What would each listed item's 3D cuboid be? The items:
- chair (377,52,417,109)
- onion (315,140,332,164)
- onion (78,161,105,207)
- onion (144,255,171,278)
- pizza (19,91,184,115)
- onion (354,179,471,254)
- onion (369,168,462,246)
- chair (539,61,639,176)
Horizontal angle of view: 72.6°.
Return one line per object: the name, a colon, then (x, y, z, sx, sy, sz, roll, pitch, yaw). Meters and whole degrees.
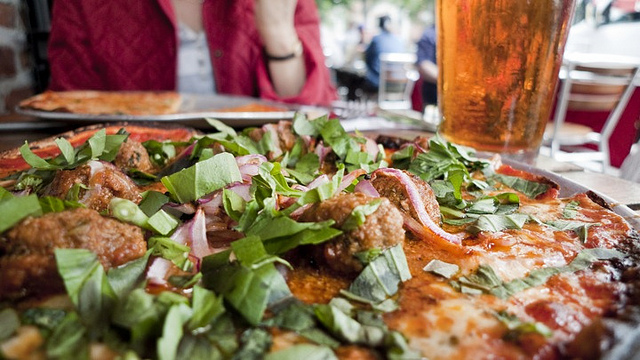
chair: (1.242, -1.644, 7.092, 0.596, 0.681, 1.047, 6, 24, 5)
onion: (0.011, -0.120, 1.838, 0.037, 0.098, 0.070, 3, 56, 31)
onion: (-0.774, 0.015, 1.519, 0.104, 0.141, 0.029, 0, -20, 14)
onion: (-0.480, 0.255, 1.282, 0.065, 0.038, 0.069, 4, 24, 2)
pizza: (-1.436, -0.539, 2.976, 0.943, 0.088, 0.811, -4, 24, -15)
onion: (0.289, 0.126, 1.413, 0.336, 0.049, 0.049, 36, -10, 13)
onion: (0.320, 0.107, 1.453, 0.421, 0.094, 0.169, 41, 20, -20)
chair: (2.332, -0.553, 3.749, 0.775, 1.030, 0.928, 8, 22, 20)
